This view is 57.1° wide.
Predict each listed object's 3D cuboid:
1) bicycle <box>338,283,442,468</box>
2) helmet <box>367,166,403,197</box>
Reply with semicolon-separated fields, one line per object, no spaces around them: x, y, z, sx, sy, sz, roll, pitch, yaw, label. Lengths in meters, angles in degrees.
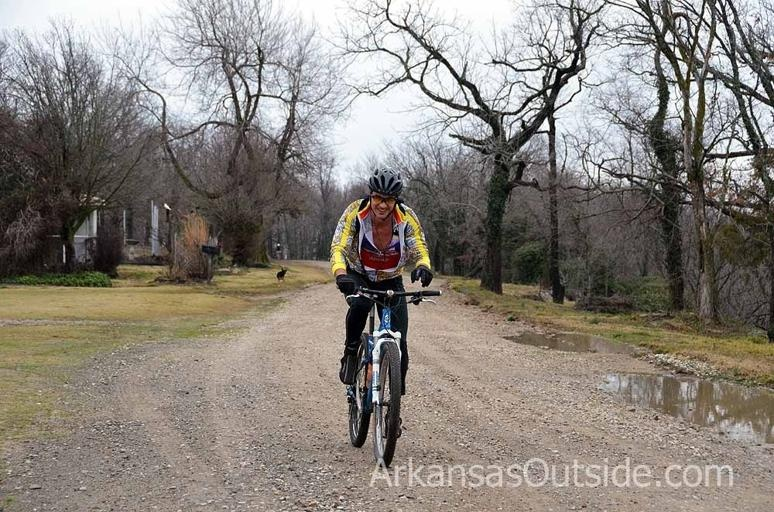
-0.031;1.916;11.514;0.925;2.734;1.411;-5;12;-29;bicycle
-0.029;-1.169;11.618;0.508;0.529;0.349;1;10;2;helmet
